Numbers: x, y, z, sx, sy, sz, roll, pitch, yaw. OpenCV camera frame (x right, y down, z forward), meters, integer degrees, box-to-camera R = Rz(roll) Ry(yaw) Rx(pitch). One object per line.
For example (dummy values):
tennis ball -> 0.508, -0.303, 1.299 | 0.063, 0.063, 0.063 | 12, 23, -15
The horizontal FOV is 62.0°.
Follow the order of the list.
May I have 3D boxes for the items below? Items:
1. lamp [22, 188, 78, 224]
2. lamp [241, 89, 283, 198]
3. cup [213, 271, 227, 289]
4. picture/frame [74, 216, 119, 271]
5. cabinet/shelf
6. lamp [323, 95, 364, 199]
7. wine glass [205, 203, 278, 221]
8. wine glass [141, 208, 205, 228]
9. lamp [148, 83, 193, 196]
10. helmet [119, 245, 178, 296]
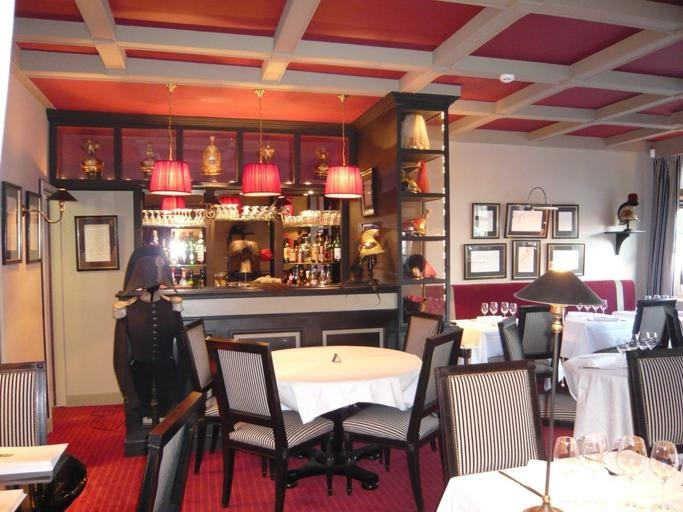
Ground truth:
lamp -> -2.843, -0.477, 5.518 | 0.506, 0.230, 0.322 | -2, 1, 26
lamp -> -0.879, -1.137, 6.138 | 0.358, 1.042, 1.291 | -2, 1, -9
cup -> -1.497, 0.300, 6.973 | 0.183, 0.202, 0.181 | 0, 0, 0
picture/frame -> -2.660, -0.141, 6.211 | 0.421, 0.468, 0.072 | -2, 1, -18
cabinet/shelf -> -1.467, -1.143, 6.817 | 3.501, 0.911, 0.452 | -5, -4, -22
lamp -> 0.021, -1.134, 5.625 | 0.386, 0.967, 0.368 | 3, 9, 18
wine glass -> -1.253, -0.558, 7.244 | 0.916, 0.210, 0.374 | -2, 1, -18
wine glass -> -2.067, -0.475, 7.032 | 0.759, 0.161, 0.396 | -2, 1, -24
lamp -> -1.874, -1.127, 6.193 | 0.379, 0.730, 1.786 | -2, 1, -17
helmet -> -1.587, 0.137, 4.844 | 0.415, 0.415, 0.440 | 4, -7, -42
